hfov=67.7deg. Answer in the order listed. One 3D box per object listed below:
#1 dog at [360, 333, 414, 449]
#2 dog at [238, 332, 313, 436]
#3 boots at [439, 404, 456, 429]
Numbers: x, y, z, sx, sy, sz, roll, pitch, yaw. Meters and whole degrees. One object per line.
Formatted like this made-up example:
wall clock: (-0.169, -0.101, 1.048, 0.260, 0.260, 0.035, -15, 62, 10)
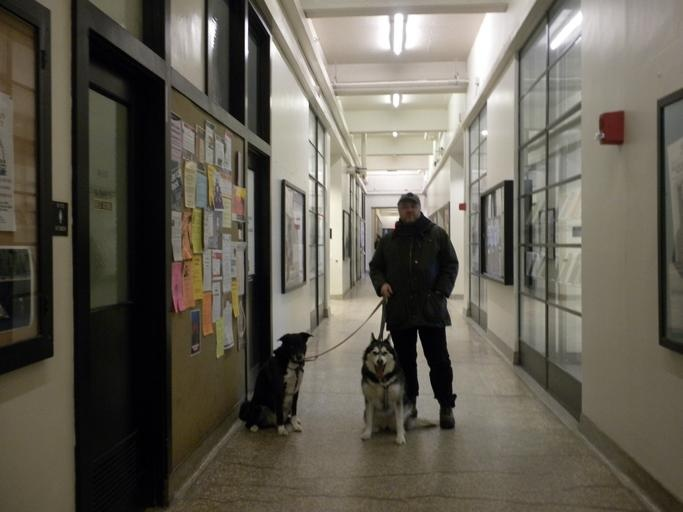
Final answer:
dog: (0.362, 1.017, 4.032, 0.320, 0.799, 0.985, 0, -4, 13)
dog: (-0.541, 0.984, 3.960, 0.525, 0.776, 0.314, 0, 2, 1)
boots: (0.857, 1.275, 4.091, 0.123, 0.169, 0.206, 0, 3, 12)
